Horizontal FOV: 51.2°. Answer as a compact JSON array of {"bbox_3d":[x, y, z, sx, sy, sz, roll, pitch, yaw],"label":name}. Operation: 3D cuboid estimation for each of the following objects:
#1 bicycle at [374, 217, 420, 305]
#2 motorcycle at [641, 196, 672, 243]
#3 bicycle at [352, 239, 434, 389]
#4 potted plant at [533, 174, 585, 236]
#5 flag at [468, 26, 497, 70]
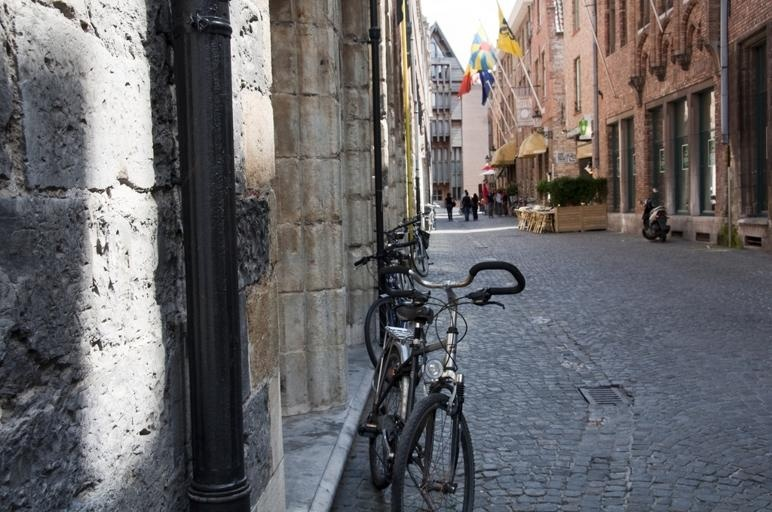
[{"bbox_3d":[0.031,0.105,9.067,0.470,0.663,0.971,-9,4,11],"label":"bicycle"},{"bbox_3d":[7.208,-1.014,21.765,0.426,1.156,1.785,-6,5,2],"label":"motorcycle"},{"bbox_3d":[0.239,0.528,8.317,0.698,1.228,1.820,-14,-5,27],"label":"bicycle"},{"bbox_3d":[6.313,-1.821,28.333,1.620,2.305,1.629,-1,0,-3],"label":"potted plant"},{"bbox_3d":[5.308,-11.532,44.202,1.798,3.019,0.268,-1,45,4],"label":"flag"}]
